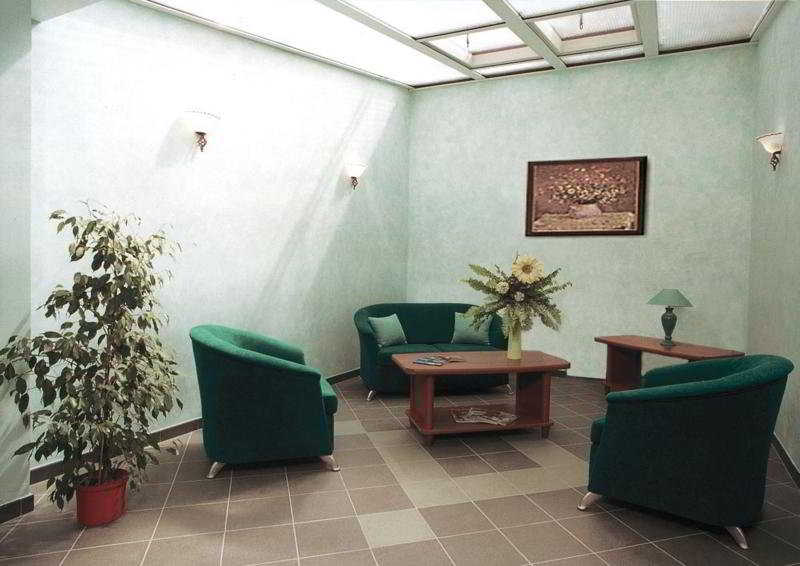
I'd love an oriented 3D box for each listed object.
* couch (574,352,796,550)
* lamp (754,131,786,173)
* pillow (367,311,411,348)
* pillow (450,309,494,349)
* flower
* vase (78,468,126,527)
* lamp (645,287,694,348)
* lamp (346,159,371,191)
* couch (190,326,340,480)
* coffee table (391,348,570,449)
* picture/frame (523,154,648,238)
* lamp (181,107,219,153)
[{"bbox_3d":[2.207,1.193,4.158,1.427,1.290,1.265,1,0,33],"label":"couch"},{"bbox_3d":[3.847,-1.327,5.384,0.310,0.324,0.284,8,-9,-34],"label":"lamp"},{"bbox_3d":[-0.157,0.622,6.648,0.422,0.380,0.126,-6,-20,-42],"label":"pillow"},{"bbox_3d":[0.920,0.598,6.564,0.514,0.430,0.193,4,-7,18],"label":"pillow"},{"bbox_3d":[1.260,0.081,5.487,1.044,0.717,1.119,-15,18,-22],"label":"flower"},{"bbox_3d":[-2.201,1.573,3.827,0.311,0.234,0.301,-4,-7,45],"label":"vase"},{"bbox_3d":[3.249,0.417,6.312,0.552,0.651,0.557,-1,-4,28],"label":"lamp"},{"bbox_3d":[-0.558,-1.459,7.063,0.161,0.422,0.481,4,10,24],"label":"lamp"},{"bbox_3d":[-1.191,1.080,4.850,1.311,1.148,1.332,-1,3,-15],"label":"couch"},{"bbox_3d":[0.821,1.143,5.385,1.619,0.750,0.832,-1,9,-9],"label":"coffee table"},{"bbox_3d":[2.586,-1.186,7.073,1.265,0.839,0.052,1,-2,20],"label":"picture/frame"},{"bbox_3d":[-1.957,-1.519,5.146,0.391,0.369,0.088,-8,25,-37],"label":"lamp"}]
